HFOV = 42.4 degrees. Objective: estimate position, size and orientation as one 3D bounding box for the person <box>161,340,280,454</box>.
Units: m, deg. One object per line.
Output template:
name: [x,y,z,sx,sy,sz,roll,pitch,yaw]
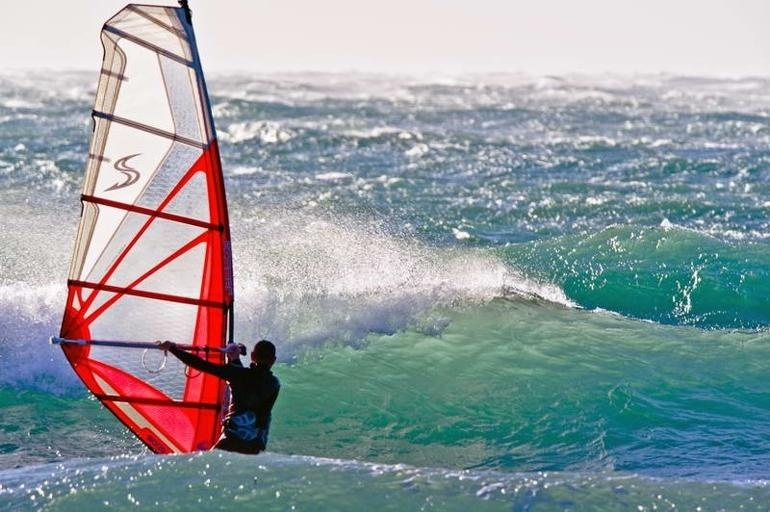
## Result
person: [-2.560,2.431,16.882,1.499,1.950,0.588,0,8,-9]
